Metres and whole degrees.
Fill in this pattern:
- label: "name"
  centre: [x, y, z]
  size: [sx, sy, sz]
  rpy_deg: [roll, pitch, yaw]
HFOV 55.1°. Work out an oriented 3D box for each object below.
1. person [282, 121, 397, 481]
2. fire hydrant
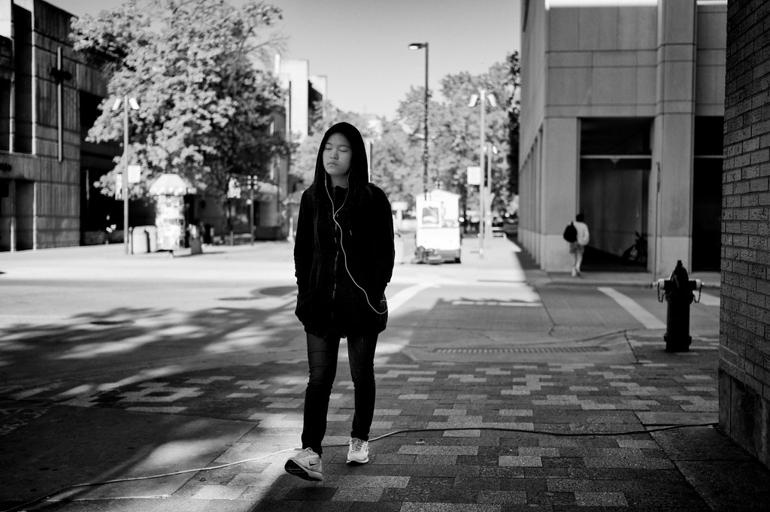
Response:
- label: "person"
  centre: [-0.328, 0.354, 6.321]
  size: [0.964, 2.730, 1.310]
  rpy_deg: [0, -2, -7]
- label: "fire hydrant"
  centre: [4.347, 0.764, 10.905]
  size: [0.802, 1.743, 0.706]
  rpy_deg: [-4, -1, 12]
